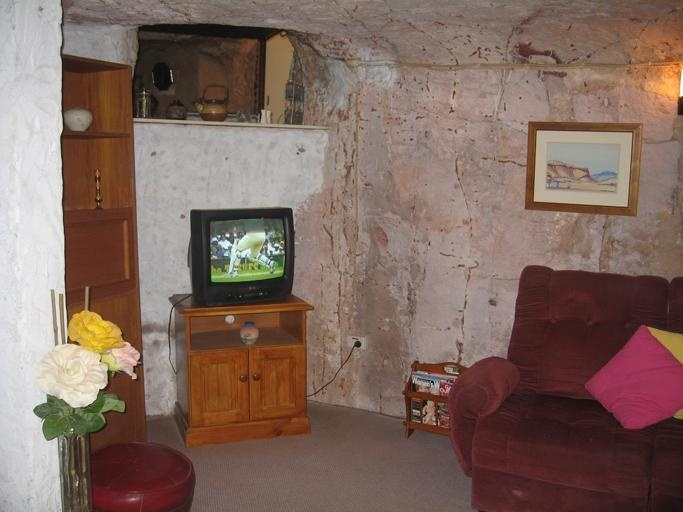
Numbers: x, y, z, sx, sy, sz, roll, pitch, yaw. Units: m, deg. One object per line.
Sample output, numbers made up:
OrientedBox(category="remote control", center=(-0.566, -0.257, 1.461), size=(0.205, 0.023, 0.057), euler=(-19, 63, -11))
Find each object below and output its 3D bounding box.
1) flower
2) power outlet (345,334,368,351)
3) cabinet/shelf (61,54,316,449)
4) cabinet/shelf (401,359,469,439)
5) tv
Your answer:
OrientedBox(category="flower", center=(-0.917, 0.491, 2.323), size=(0.432, 0.545, 0.565), euler=(3, -22, -23))
OrientedBox(category="power outlet", center=(0.105, 0.592, 4.095), size=(0.141, 0.086, 0.034), euler=(7, 2, 21))
OrientedBox(category="cabinet/shelf", center=(-0.887, 0.039, 3.638), size=(1.442, 2.209, 0.850), euler=(-1, 4, -25))
OrientedBox(category="cabinet/shelf", center=(0.566, 0.858, 3.567), size=(0.529, 0.473, 0.221), euler=(1, 5, 34))
OrientedBox(category="tv", center=(-0.643, -0.089, 3.966), size=(0.812, 0.711, 0.579), euler=(-3, 10, -24))
